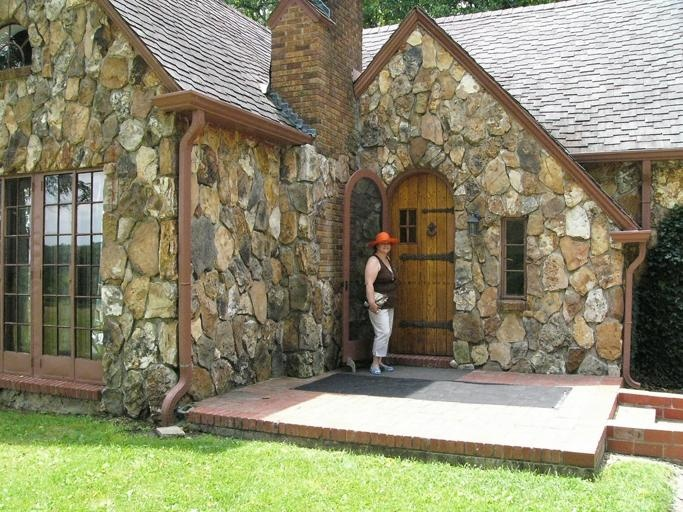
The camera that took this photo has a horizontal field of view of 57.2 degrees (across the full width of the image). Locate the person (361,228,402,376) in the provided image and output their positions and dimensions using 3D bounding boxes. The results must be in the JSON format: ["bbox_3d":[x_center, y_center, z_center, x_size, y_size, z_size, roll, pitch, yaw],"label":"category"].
[{"bbox_3d":[0.663,0.809,10.739,0.493,2.366,1.111,0,7,7],"label":"person"}]

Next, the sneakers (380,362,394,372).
[{"bbox_3d":[0.768,1.905,10.671,0.254,0.132,0.100,1,1,6],"label":"sneakers"}]
